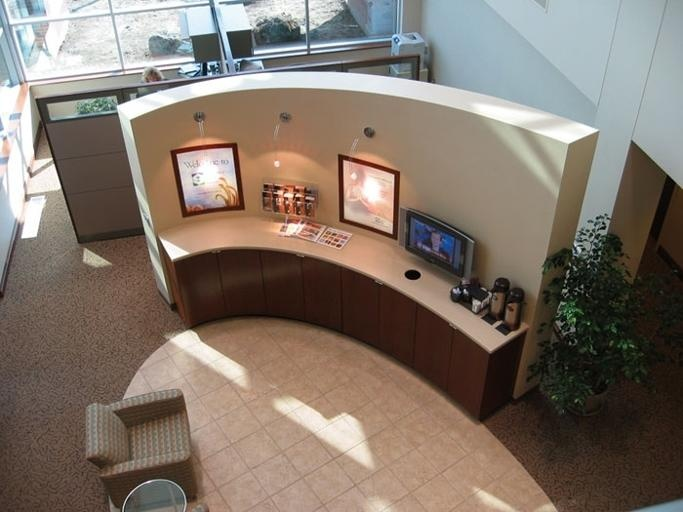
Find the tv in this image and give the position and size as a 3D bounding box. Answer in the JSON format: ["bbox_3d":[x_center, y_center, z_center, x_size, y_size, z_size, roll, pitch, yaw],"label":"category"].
[{"bbox_3d":[1.262,-0.160,6.309,0.875,0.544,0.168,32,54,28],"label":"tv"}]

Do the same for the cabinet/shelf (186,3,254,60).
[{"bbox_3d":[-2.530,-4.744,10.029,1.289,0.873,1.519,-4,76,-8],"label":"cabinet/shelf"}]

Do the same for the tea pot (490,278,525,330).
[{"bbox_3d":[1.985,0.542,5.838,0.366,0.544,0.271,19,36,36],"label":"tea pot"}]

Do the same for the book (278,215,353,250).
[{"bbox_3d":[-0.328,-0.361,7.190,0.878,0.077,0.396,18,51,17],"label":"book"}]

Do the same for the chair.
[{"bbox_3d":[-2.279,2.073,5.639,1.170,1.242,1.267,-12,72,-2],"label":"chair"}]

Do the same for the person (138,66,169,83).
[{"bbox_3d":[-3.476,-3.282,8.930,0.350,0.246,1.013,-16,32,-18],"label":"person"}]

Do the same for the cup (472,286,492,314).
[{"bbox_3d":[1.710,0.542,5.992,0.101,0.301,0.210,27,-7,-29],"label":"cup"}]

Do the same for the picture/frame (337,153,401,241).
[{"bbox_3d":[0.407,-0.856,6.765,0.988,1.147,0.042,22,47,21],"label":"picture/frame"}]
